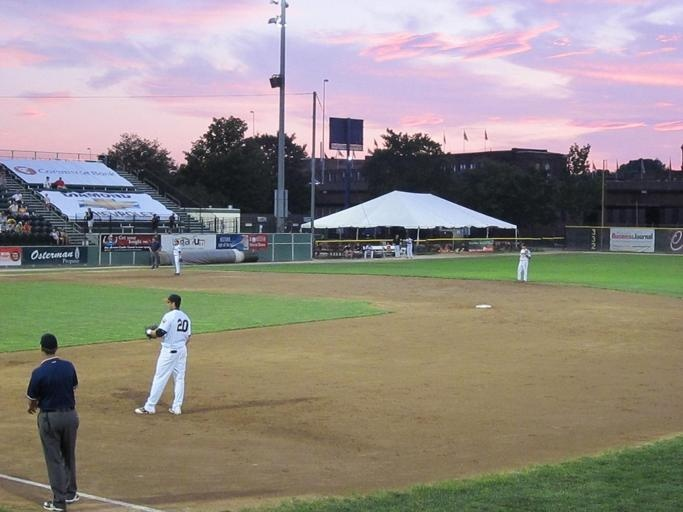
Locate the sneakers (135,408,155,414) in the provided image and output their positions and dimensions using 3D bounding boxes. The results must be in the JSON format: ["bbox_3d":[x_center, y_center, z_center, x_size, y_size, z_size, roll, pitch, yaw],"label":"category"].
[{"bbox_3d":[-4.985,3.946,33.594,0.488,0.182,0.175,1,9,12],"label":"sneakers"}]

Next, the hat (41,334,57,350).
[{"bbox_3d":[-6.712,1.940,30.251,0.304,0.228,0.425,0,16,-24],"label":"hat"}]

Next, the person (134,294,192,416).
[{"bbox_3d":[-4.446,2.506,33.717,1.120,3.029,1.135,1,1,-8],"label":"person"}]

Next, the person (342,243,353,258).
[{"bbox_3d":[0.418,-0.295,84.934,0.856,0.708,1.211,-2,14,4],"label":"person"}]

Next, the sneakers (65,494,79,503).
[{"bbox_3d":[-6.089,5.517,29.946,0.123,0.151,0.344,20,21,24],"label":"sneakers"}]
